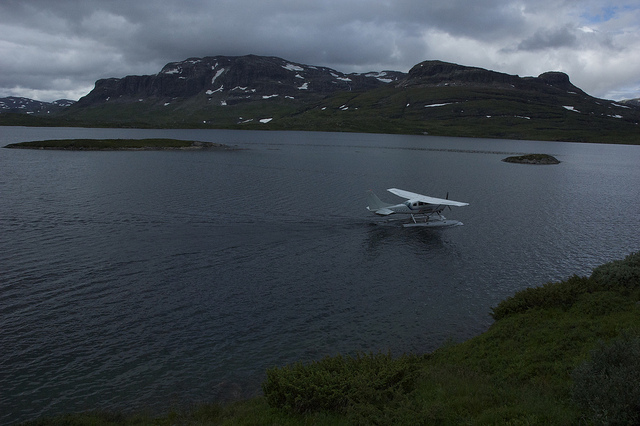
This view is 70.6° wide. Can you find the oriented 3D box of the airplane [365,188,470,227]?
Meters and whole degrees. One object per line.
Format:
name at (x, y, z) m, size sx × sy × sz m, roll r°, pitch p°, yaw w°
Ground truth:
airplane at (14.758, -0.783, 75.991) m, size 10.281 × 3.297 × 10.651 m, roll -5°, pitch 17°, yaw -19°
